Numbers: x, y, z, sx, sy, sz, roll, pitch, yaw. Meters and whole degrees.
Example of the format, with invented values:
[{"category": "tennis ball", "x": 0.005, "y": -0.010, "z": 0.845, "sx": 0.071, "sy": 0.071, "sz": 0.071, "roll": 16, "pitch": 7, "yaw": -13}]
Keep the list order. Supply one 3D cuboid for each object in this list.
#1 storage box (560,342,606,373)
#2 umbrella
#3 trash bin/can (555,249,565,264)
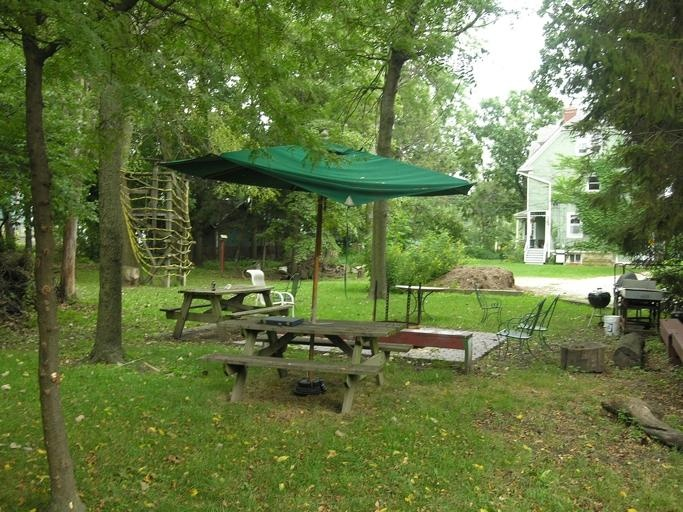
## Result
[{"category": "storage box", "x": 3.587, "y": 1.480, "z": 9.142, "sx": 0.554, "sy": 0.245, "sz": 0.476, "roll": 0, "pitch": 0, "yaw": -12}, {"category": "umbrella", "x": -0.331, "y": 0.174, "z": 8.655, "sx": 3.966, "sy": 2.726, "sz": 3.855, "roll": 3, "pitch": 4, "yaw": 24}, {"category": "trash bin/can", "x": 12.097, "y": 0.019, "z": 33.993, "sx": 0.811, "sy": 0.871, "sz": 0.706, "roll": 0, "pitch": -3, "yaw": 6}]
